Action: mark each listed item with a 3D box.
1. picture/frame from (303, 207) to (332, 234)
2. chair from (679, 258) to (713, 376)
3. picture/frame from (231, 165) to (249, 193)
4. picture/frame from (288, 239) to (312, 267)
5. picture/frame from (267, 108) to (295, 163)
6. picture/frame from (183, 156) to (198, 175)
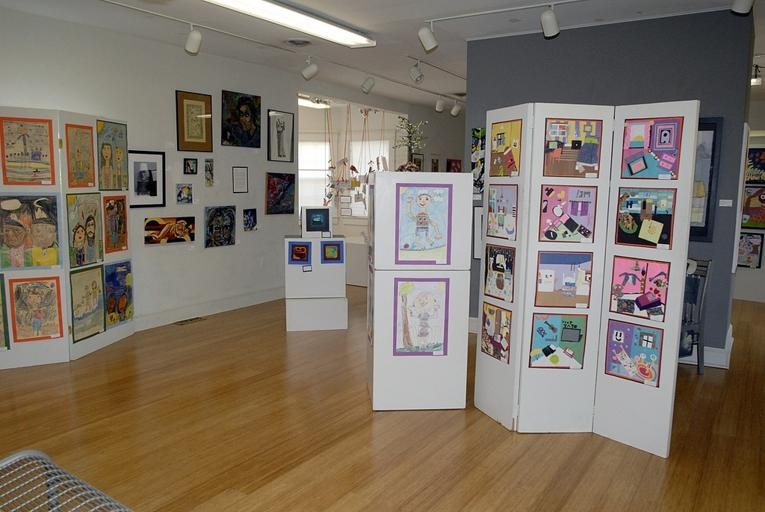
[{"bbox_3d":[-0.958,-0.509,7.745,0.367,0.386,0.384,0,1,6],"label":"picture/frame"},{"bbox_3d":[3.869,0.736,6.515,0.297,1.359,0.427,7,12,31],"label":"chair"},{"bbox_3d":[-2.394,-1.287,8.726,0.044,0.558,0.451,2,4,30],"label":"picture/frame"},{"bbox_3d":[-1.211,-0.031,7.594,0.385,0.407,0.040,0,-1,-9],"label":"picture/frame"},{"bbox_3d":[-1.823,-2.141,9.256,0.042,1.191,0.856,10,14,38],"label":"picture/frame"},{"bbox_3d":[-2.974,-1.400,8.087,0.254,0.270,0.019,-11,17,-24],"label":"picture/frame"}]
